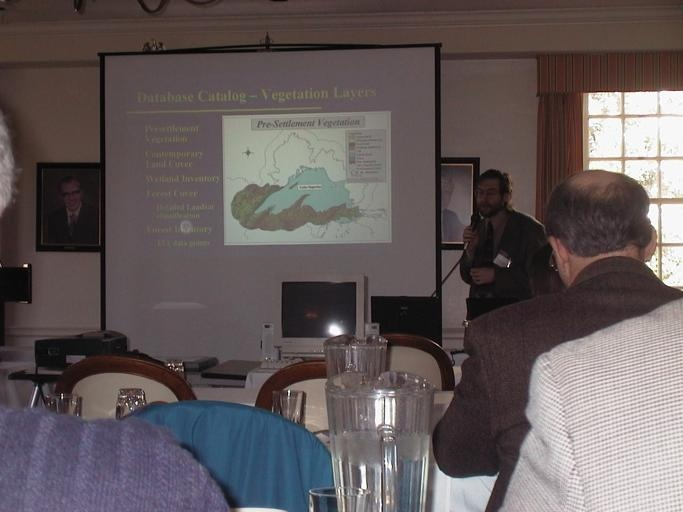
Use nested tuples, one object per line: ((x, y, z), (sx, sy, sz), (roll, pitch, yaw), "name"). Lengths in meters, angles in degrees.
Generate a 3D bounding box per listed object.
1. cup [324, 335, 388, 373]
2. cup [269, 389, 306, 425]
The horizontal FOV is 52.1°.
((0.052, 0.367, 2.278), (0.188, 0.197, 0.120), (2, -10, -16), "cup")
((-0.165, 0.467, 2.192), (0.099, 0.130, 0.108), (1, -4, 0), "cup")
